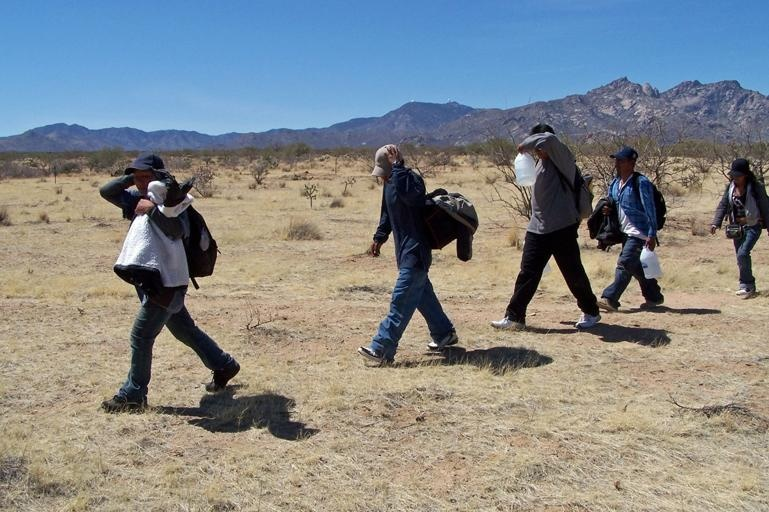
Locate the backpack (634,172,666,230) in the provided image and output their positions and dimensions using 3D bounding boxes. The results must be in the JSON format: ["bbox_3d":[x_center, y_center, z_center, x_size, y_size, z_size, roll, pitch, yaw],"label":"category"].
[{"bbox_3d":[3.906,-0.748,9.326,0.317,0.864,1.077,7,16,24],"label":"backpack"}]

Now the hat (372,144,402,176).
[{"bbox_3d":[0.036,-1.096,7.522,0.350,0.385,0.361,0,15,1],"label":"hat"}]

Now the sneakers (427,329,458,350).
[{"bbox_3d":[0.677,1.075,8.179,0.464,0.220,0.177,-10,11,3],"label":"sneakers"}]

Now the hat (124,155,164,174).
[{"bbox_3d":[-2.442,-0.968,6.675,0.233,0.196,0.334,-5,-7,34],"label":"hat"}]

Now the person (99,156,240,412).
[{"bbox_3d":[-2.316,0.225,6.876,1.379,2.581,0.946,-4,15,-13],"label":"person"}]

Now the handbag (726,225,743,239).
[{"bbox_3d":[5.348,-0.378,9.915,0.279,0.272,0.200,8,9,41],"label":"handbag"}]

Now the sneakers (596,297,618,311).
[{"bbox_3d":[3.207,0.713,9.183,0.333,0.145,0.141,25,-8,-21],"label":"sneakers"}]

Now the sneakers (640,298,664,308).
[{"bbox_3d":[3.897,0.692,9.483,0.355,0.170,0.135,-6,12,1],"label":"sneakers"}]

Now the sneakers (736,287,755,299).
[{"bbox_3d":[5.441,0.576,9.716,0.289,0.139,0.111,3,1,19],"label":"sneakers"}]

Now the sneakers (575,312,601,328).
[{"bbox_3d":[2.811,0.860,8.784,0.440,0.193,0.149,-12,2,-16],"label":"sneakers"}]

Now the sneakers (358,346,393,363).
[{"bbox_3d":[-0.089,1.176,7.637,0.302,0.131,0.102,28,-3,-16],"label":"sneakers"}]

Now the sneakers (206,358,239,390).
[{"bbox_3d":[-1.779,1.312,7.099,0.213,0.301,0.102,35,15,-43],"label":"sneakers"}]

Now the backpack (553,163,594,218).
[{"bbox_3d":[2.550,-0.816,8.378,0.687,0.678,0.448,-4,13,-5],"label":"backpack"}]

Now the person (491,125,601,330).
[{"bbox_3d":[2.200,-0.281,8.455,1.210,2.583,0.432,2,15,8],"label":"person"}]

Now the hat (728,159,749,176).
[{"bbox_3d":[5.401,-1.332,9.767,0.345,0.184,0.217,-5,11,-28],"label":"hat"}]

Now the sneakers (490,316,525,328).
[{"bbox_3d":[1.672,0.901,8.771,0.457,0.202,0.172,2,1,14],"label":"sneakers"}]
